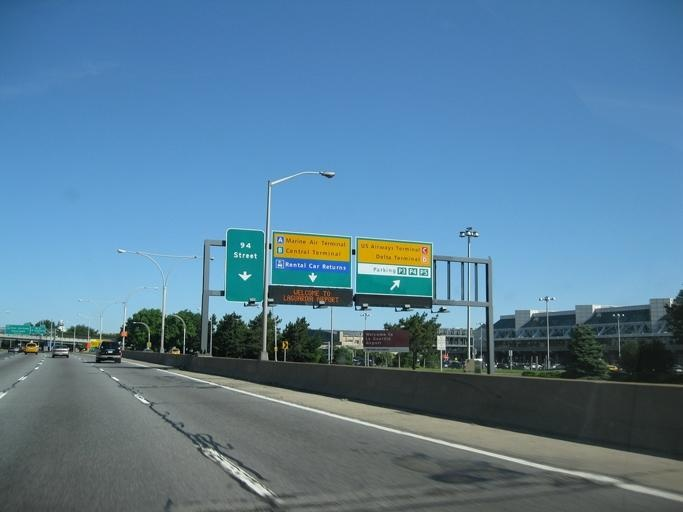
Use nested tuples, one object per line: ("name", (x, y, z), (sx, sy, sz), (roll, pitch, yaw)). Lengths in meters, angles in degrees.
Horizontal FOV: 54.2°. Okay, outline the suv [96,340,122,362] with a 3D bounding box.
("suv", (-17.155, 7.027, 49.373), (2.313, 1.573, 1.094), (-6, -12, 38))
